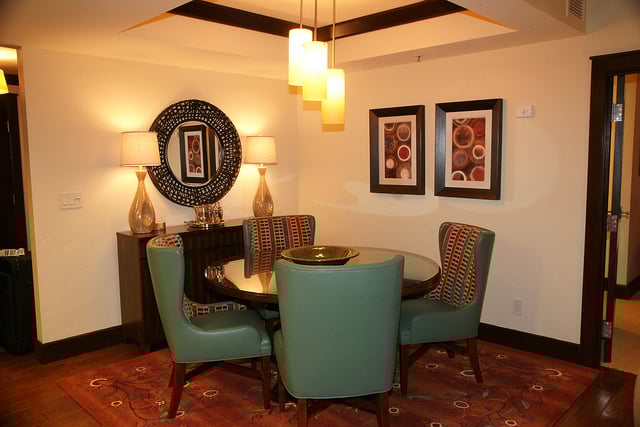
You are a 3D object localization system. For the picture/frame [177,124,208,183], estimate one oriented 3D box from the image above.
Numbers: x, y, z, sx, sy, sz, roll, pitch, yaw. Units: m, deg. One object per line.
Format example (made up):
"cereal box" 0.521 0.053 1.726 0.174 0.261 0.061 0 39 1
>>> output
"picture/frame" -1.381 -0.649 5.203 0.329 0.650 0.070 -9 13 -43

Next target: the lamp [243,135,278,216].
"lamp" -0.694 -0.448 5.480 0.374 0.924 0.584 -2 9 -9

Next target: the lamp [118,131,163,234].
"lamp" -1.802 -0.314 4.731 0.339 0.999 0.407 -7 11 -37

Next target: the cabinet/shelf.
"cabinet/shelf" -1.308 0.772 5.179 1.512 1.246 0.516 -4 0 -43

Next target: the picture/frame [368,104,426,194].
"picture/frame" 0.846 -0.698 5.226 0.669 0.932 0.131 7 12 42

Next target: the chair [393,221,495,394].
"chair" 1.024 0.790 4.269 0.951 1.304 0.941 -3 8 -13

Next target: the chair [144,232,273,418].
"chair" -0.905 0.886 3.934 0.950 1.235 0.839 2 6 -8

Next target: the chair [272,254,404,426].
"chair" 0.118 0.751 3.392 0.944 1.407 0.977 -1 12 -6
